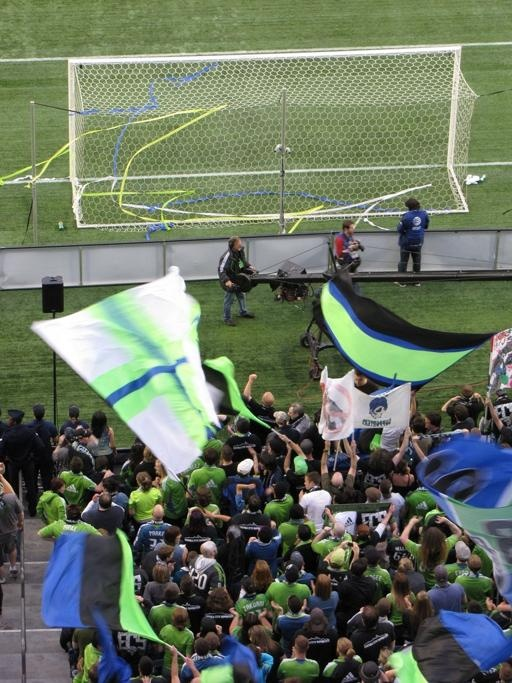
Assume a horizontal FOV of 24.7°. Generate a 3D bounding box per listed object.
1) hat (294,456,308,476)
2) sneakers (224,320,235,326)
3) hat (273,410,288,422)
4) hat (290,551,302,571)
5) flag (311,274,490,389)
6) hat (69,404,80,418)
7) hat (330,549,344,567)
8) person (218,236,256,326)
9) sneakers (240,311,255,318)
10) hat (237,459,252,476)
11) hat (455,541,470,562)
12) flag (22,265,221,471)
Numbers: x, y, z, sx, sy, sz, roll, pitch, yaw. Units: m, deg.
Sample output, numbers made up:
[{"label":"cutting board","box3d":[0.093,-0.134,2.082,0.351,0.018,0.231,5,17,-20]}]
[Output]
[{"label":"hat","box3d":[0.384,1.102,10.337,0.115,0.052,0.155,-7,45,1]},{"label":"sneakers","box3d":[-0.344,-0.238,15.275,0.054,0.054,0.139,-32,37,-30]},{"label":"hat","box3d":[0.223,0.711,10.778,0.097,0.106,0.059,5,31,10]},{"label":"hat","box3d":[0.281,1.682,8.925,0.115,0.111,0.124,5,-4,-3]},{"label":"flag","box3d":[1.394,-0.044,12.045,1.749,0.492,0.885,15,44,21]},{"label":"hat","box3d":[-1.803,0.678,11.519,0.122,0.140,0.153,5,-17,-9]},{"label":"hat","box3d":[0.604,1.635,8.849,0.108,0.122,0.129,0,4,2]},{"label":"person","box3d":[-0.251,-0.744,15.006,0.451,1.112,1.161,-1,4,-1]},{"label":"sneakers","box3d":[-0.123,-0.337,15.529,0.191,0.069,0.066,4,41,5]},{"label":"hat","box3d":[-0.098,1.066,9.969,0.115,0.067,0.141,-5,41,-1]},{"label":"hat","box3d":[1.570,1.629,9.082,0.130,0.142,0.135,2,56,-3]},{"label":"flag","box3d":[-0.831,0.236,8.951,1.598,0.465,1.521,-24,63,-38]}]
